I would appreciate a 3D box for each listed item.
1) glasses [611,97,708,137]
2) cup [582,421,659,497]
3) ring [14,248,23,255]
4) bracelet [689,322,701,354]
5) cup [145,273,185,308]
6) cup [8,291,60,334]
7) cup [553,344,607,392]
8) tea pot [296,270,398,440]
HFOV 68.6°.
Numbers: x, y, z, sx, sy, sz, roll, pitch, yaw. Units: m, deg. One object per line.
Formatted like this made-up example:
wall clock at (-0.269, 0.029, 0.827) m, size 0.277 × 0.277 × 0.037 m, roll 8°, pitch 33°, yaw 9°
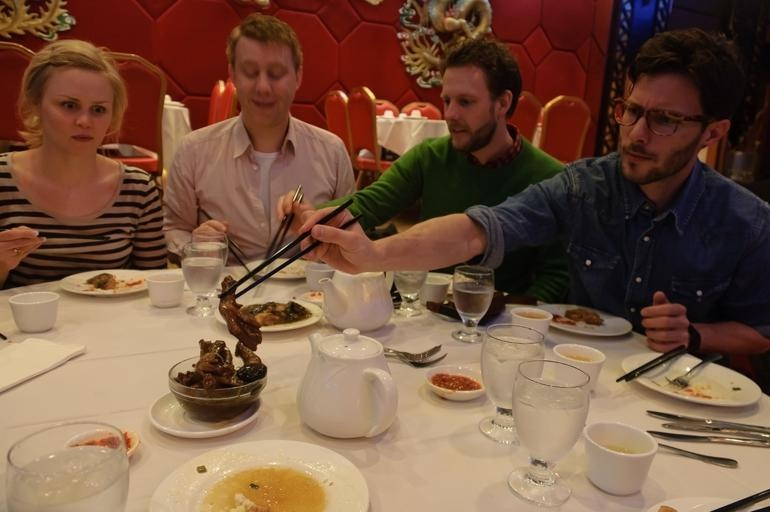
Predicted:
glasses at (1.007, -0.499, 2.048) m, size 0.316 × 0.122 × 0.154 m, roll 10°, pitch 16°, yaw 19°
cup at (0.549, 0.458, 1.344) m, size 0.153 × 0.127 × 0.160 m, roll 1°, pitch 6°, yaw 0°
ring at (-1.242, -0.012, 1.912) m, size 0.025 × 0.006 × 0.024 m, roll -3°, pitch 44°, yaw 3°
bracelet at (1.001, 0.263, 1.826) m, size 0.022 × 0.088 × 0.091 m, roll -5°, pitch 39°, yaw 15°
cup at (-0.756, 0.120, 1.969) m, size 0.125 × 0.098 × 0.113 m, roll -4°, pitch 13°, yaw -11°
cup at (-1.087, 0.179, 1.750) m, size 0.134 × 0.105 × 0.133 m, roll 5°, pitch 11°, yaw -1°
cup at (0.546, 0.284, 1.562) m, size 0.127 × 0.105 × 0.137 m, roll 2°, pitch 16°, yaw -1°
tea pot at (-0.083, 0.270, 1.563) m, size 0.252 × 0.373 × 0.397 m, roll 0°, pitch 18°, yaw -9°
